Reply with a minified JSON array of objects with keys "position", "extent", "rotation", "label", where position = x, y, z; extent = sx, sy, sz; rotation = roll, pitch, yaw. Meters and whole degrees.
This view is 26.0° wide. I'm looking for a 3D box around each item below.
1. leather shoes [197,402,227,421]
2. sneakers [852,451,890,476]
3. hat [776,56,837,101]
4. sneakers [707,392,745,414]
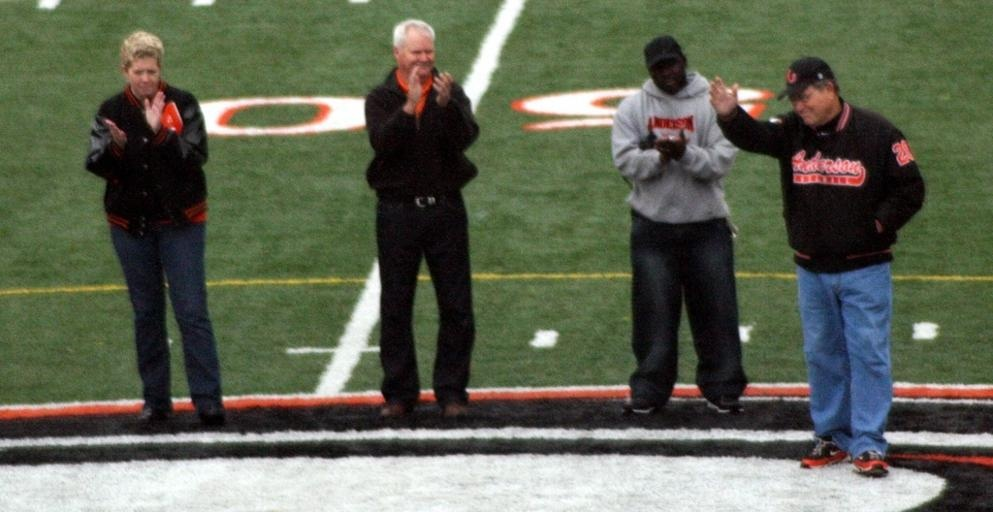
[{"position":[-2.781,1.525,21.154],"extent":[0.293,0.127,0.193],"rotation":[0,2,-3],"label":"leather shoes"},{"position":[3.530,1.960,20.345],"extent":[0.225,0.127,0.345],"rotation":[0,9,2],"label":"sneakers"},{"position":[2.898,-1.784,20.565],"extent":[0.478,0.245,0.615],"rotation":[8,30,40],"label":"hat"},{"position":[2.268,1.461,21.190],"extent":[0.380,0.126,0.172],"rotation":[-2,0,33],"label":"sneakers"}]
